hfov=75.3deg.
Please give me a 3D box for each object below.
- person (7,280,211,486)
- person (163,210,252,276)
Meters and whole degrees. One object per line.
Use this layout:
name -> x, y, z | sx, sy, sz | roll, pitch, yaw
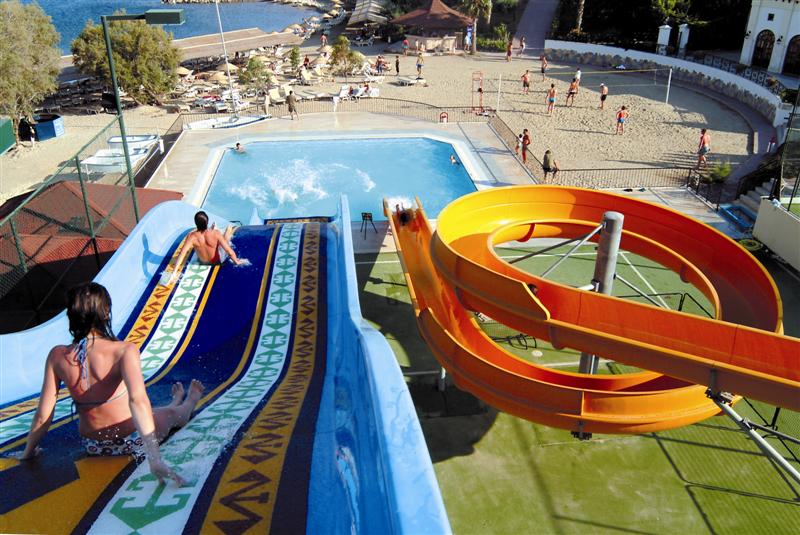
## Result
person -> -2.933, 1.061, 5.119 | 1.484, 1.750, 0.537 | 5, 14, 6
person -> -3.771, -0.620, 10.477 | 1.096, 0.797, 1.571 | 1, 32, -4
